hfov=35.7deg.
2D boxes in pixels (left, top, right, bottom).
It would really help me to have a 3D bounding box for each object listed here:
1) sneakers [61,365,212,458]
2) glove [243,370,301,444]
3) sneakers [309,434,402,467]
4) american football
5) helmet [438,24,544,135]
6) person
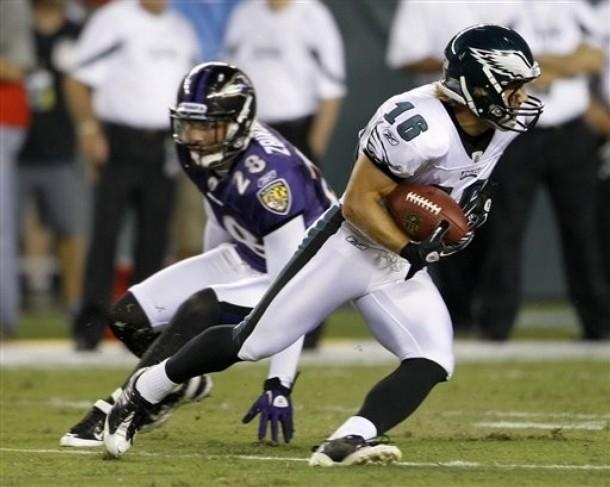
[{"bbox_3d":[-0.658,0.678,3.750,0.439,0.125,0.153,-30,-1,-17],"label":"sneakers"},{"bbox_3d":[-0.142,0.613,3.566,0.214,0.248,0.099,-2,-3,-10],"label":"glove"},{"bbox_3d":[0.165,0.708,3.212,0.235,0.073,0.134,2,-11,4],"label":"sneakers"},{"bbox_3d":[0.406,-0.109,3.244,0.262,0.151,0.187,32,45,18],"label":"american football"},{"bbox_3d":[0.668,-0.598,3.449,0.445,0.349,0.328,0,19,-12],"label":"helmet"},{"bbox_3d":[0.016,0.009,3.387,1.171,1.115,0.667,12,19,7],"label":"person"}]
